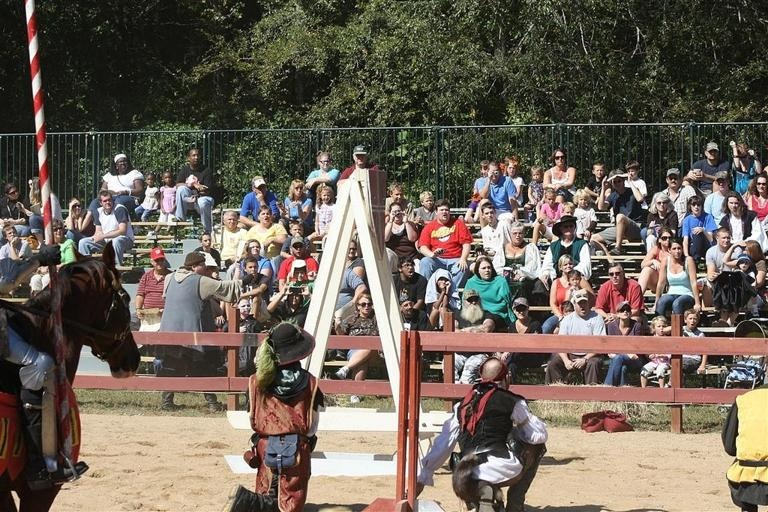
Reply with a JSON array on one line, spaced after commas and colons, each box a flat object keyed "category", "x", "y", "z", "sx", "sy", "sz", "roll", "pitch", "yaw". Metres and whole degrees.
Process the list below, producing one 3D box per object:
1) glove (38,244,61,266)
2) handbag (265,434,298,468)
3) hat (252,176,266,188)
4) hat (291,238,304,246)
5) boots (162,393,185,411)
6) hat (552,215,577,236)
[{"category": "glove", "x": -6.473, "y": 0.032, "z": 32.910, "sx": 0.407, "sy": 0.443, "sz": 0.316, "roll": 10, "pitch": -8, "yaw": -17}, {"category": "handbag", "x": -2.000, "y": 3.855, "z": 33.331, "sx": 0.521, "sy": 0.592, "sz": 0.269, "roll": -1, "pitch": -14, "yaw": 11}, {"category": "hat", "x": -3.266, "y": -1.840, "z": 43.739, "sx": 0.225, "sy": 0.199, "sz": 0.330, "roll": -2, "pitch": 0, "yaw": -24}, {"category": "hat", "x": -2.141, "y": -0.295, "z": 41.366, "sx": 0.253, "sy": 0.208, "sz": 0.442, "roll": 1, "pitch": -12, "yaw": -6}, {"category": "boots", "x": -5.063, "y": 3.525, "z": 40.400, "sx": 0.380, "sy": 0.471, "sz": 0.436, "roll": 0, "pitch": 3, "yaw": -21}, {"category": "hat", "x": 4.357, "y": -0.729, "z": 41.911, "sx": 0.439, "sy": 0.210, "sz": 0.527, "roll": -5, "pitch": -26, "yaw": -26}]
